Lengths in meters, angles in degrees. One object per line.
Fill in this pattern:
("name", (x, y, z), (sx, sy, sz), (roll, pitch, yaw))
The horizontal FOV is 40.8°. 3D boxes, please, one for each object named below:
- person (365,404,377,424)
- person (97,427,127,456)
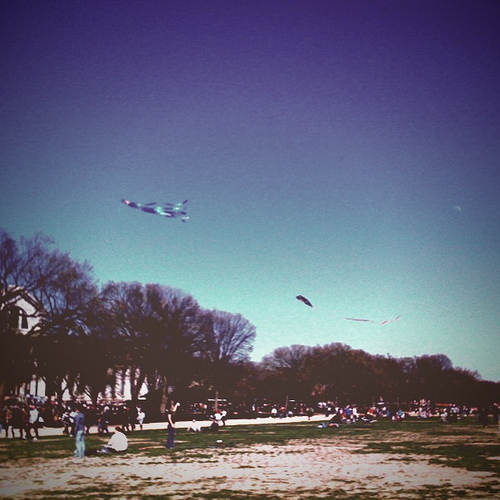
("person", (8.268, 11.390, 46.091), (0.942, 1.035, 2.011), (0, -4, 10))
("person", (-5.618, 7.933, 27.706), (1.041, 1.026, 1.077), (3, -9, -12))
